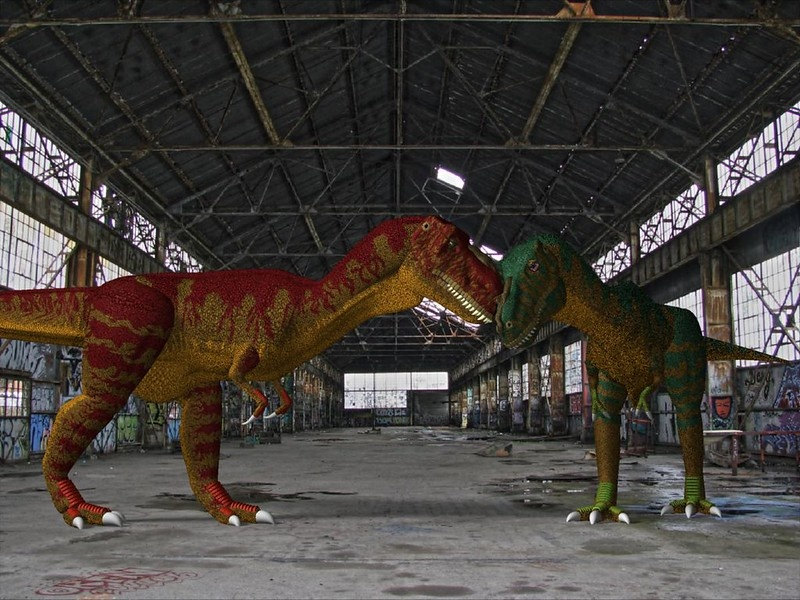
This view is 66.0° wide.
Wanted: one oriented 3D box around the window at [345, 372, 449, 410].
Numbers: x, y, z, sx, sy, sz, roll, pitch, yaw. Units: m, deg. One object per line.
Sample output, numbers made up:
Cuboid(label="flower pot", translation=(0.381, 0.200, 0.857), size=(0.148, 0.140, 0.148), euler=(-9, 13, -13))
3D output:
Cuboid(label="window", translation=(-0.391, 11.916, 79.987), size=(14.639, 4.960, 0.187), euler=(3, -7, -23))
